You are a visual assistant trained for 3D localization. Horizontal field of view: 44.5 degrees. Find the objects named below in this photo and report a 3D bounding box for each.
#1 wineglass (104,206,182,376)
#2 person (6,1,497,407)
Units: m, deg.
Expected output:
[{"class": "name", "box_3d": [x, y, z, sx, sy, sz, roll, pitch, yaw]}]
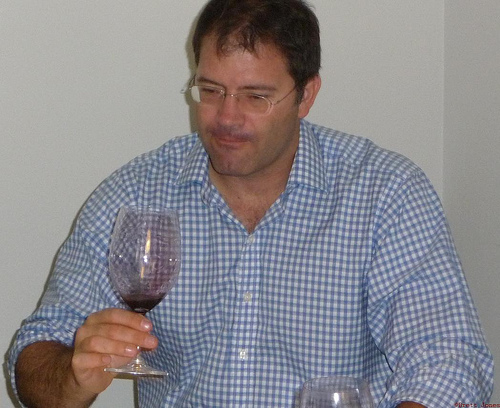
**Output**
[{"class": "wineglass", "box_3d": [-0.247, 0.176, 1.401, 0.178, 0.443, 0.128, -1, -6, -3]}, {"class": "person", "box_3d": [0.014, 0.054, 1.960, 1.145, 1.217, 0.910, 20, -33, -26]}]
